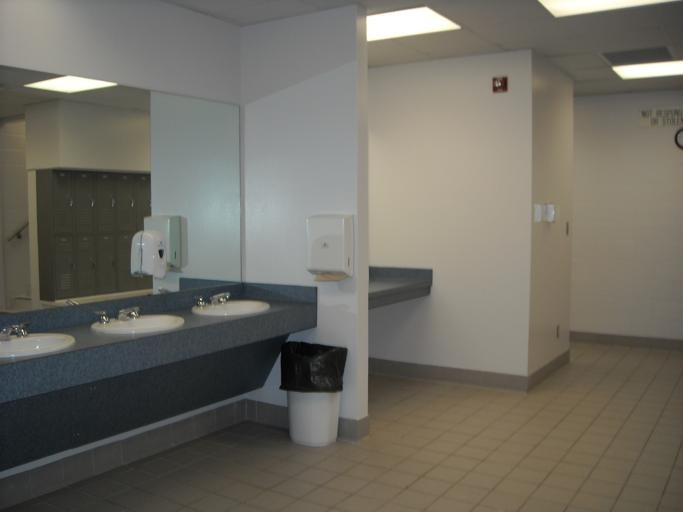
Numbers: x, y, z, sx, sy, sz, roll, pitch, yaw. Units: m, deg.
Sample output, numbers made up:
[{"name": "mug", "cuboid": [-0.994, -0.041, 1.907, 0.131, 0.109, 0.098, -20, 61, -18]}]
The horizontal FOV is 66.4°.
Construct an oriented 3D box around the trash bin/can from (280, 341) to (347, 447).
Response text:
[{"name": "trash bin/can", "cuboid": [-0.243, 1.039, 3.999, 0.508, 0.732, 0.349, 6, 10, 11]}]
